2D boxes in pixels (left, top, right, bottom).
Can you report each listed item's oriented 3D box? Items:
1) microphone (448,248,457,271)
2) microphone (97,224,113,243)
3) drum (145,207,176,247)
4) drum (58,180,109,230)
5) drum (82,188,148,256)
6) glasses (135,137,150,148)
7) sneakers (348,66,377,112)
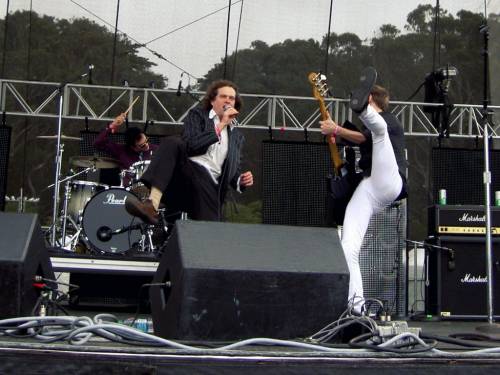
[{"bbox_3d":[2.418,0.854,12.905,0.097,0.258,0.041,1,-6,2],"label":"microphone"},{"bbox_3d":[-1.798,0.572,13.373,0.207,0.204,0.090,-1,-7,21],"label":"microphone"},{"bbox_3d":[-1.125,0.468,13.221,0.508,0.649,0.498,1,5,0],"label":"drum"},{"bbox_3d":[-2.284,0.199,14.062,0.609,0.609,0.611,2,-10,16],"label":"drum"},{"bbox_3d":[-1.752,0.407,13.546,0.814,0.814,0.666,0,6,-33],"label":"drum"},{"bbox_3d":[-1.459,-0.611,14.543,0.156,0.048,0.155,-1,30,48],"label":"glasses"},{"bbox_3d":[1.215,-1.050,11.622,0.279,0.503,0.255,0,-6,10],"label":"sneakers"}]
